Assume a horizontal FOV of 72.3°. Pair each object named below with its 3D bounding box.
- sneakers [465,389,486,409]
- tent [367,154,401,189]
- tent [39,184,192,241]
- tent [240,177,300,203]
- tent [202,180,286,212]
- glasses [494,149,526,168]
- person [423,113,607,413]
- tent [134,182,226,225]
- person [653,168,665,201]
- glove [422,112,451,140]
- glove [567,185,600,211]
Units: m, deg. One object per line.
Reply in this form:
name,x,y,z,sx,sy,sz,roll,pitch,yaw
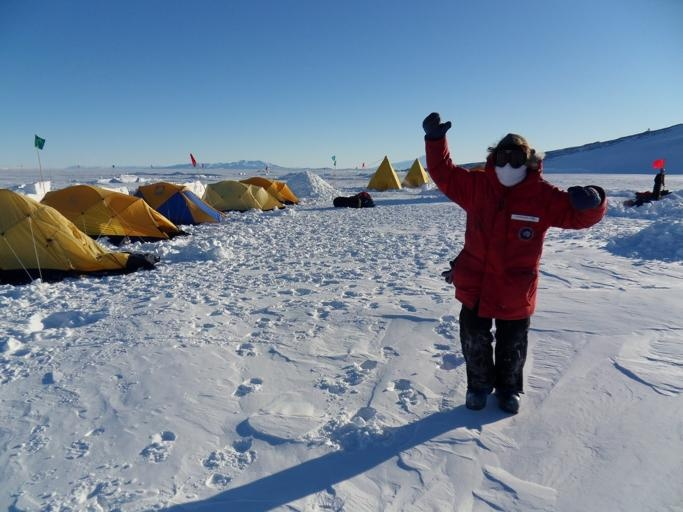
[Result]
sneakers,1.099,1.183,3.814,0.119,0.113,0.181,0,-13,12
tent,2.687,-5.203,29.502,2.013,2.071,1.759,0,14,2
tent,-4.798,-0.875,9.778,2.002,0.576,1.457,9,10,-33
tent,-3.095,-2.636,19.036,1.930,0.493,1.294,13,25,17
tent,-3.575,-2.047,16.142,1.903,0.531,1.370,3,15,9
glasses,1.263,-0.739,3.526,0.171,0.077,0.172,3,8,19
person,1.284,0.078,3.715,1.320,2.360,0.492,1,15,8
tent,-4.557,-1.457,12.694,1.855,0.543,1.270,14,21,13
person,10.104,-2.320,14.838,0.380,0.957,1.447,10,17,34
glove,0.745,-0.996,3.582,0.185,0.199,0.224,-1,14,-2
glove,1.780,-0.427,3.439,0.232,0.162,0.182,3,14,14
